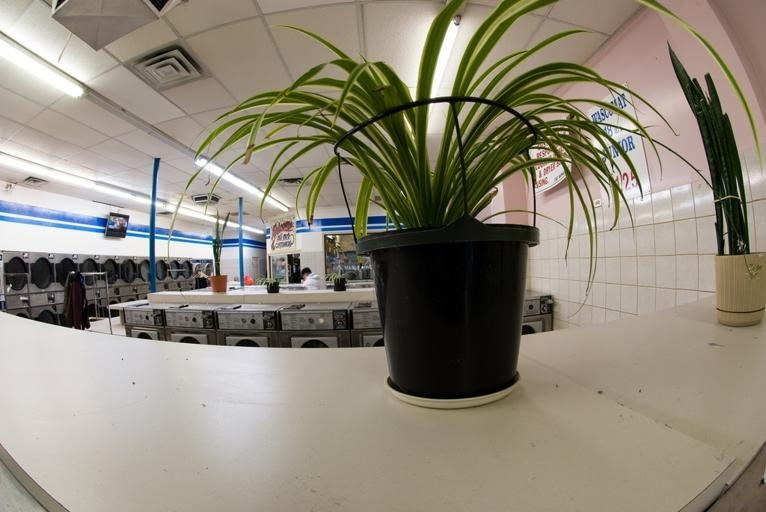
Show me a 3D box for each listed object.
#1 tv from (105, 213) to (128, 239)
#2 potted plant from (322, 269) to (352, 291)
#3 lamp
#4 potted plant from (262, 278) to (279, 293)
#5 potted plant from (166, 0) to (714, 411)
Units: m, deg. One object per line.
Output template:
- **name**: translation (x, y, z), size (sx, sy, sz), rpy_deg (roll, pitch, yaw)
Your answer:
- **tv**: translation (-5.708, -0.650, 8.919), size (0.074, 0.547, 0.473), rpy_deg (-1, -14, 32)
- **potted plant**: translation (-0.638, 0.320, 5.631), size (0.319, 0.135, 0.329), rpy_deg (-6, -8, 31)
- **lamp**: translation (-2.134, -1.073, 6.283), size (0.258, 0.122, 1.606), rpy_deg (-26, -21, 13)
- **potted plant**: translation (-1.156, 0.308, 4.273), size (0.133, 0.102, 0.127), rpy_deg (1, -2, -12)
- **potted plant**: translation (0.193, -0.234, 2.634), size (2.447, 1.810, 2.501), rpy_deg (-2, -3, 4)
